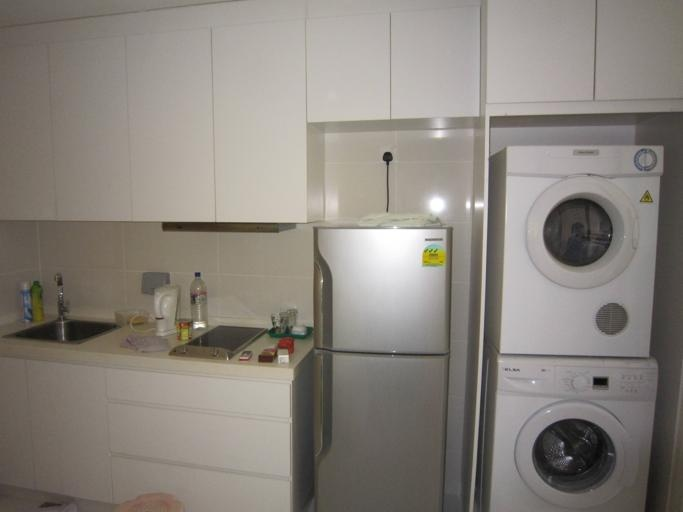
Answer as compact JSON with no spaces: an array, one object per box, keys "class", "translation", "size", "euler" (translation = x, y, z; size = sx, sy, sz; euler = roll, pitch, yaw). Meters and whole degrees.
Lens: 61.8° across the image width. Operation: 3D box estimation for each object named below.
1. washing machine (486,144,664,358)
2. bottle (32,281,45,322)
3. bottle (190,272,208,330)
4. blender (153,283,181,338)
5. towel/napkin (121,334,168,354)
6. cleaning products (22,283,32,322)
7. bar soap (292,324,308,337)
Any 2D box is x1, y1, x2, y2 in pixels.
[{"class":"washing machine","translation":[1.314,-0.096,3.226],"size":[0.827,1.133,0.785],"euler":[4,13,28]},{"class":"bottle","translation":[-2.060,0.302,3.839],"size":[0.077,0.269,0.125],"euler":[-1,4,-26]},{"class":"bottle","translation":[-0.929,0.281,3.707],"size":[0.111,0.362,0.161],"euler":[0,4,-16]},{"class":"blender","translation":[-1.087,0.341,3.618],"size":[0.111,0.303,0.199],"euler":[3,4,30]},{"class":"towel/napkin","translation":[-1.149,0.514,3.368],"size":[0.289,0.073,0.177],"euler":[2,4,26]},{"class":"cleaning products","translation":[-2.112,0.307,3.808],"size":[0.056,0.261,0.064],"euler":[-2,4,-32]},{"class":"bar soap","translation":[-0.256,0.459,3.497],"size":[0.104,0.049,0.083],"euler":[0,3,-10]}]
